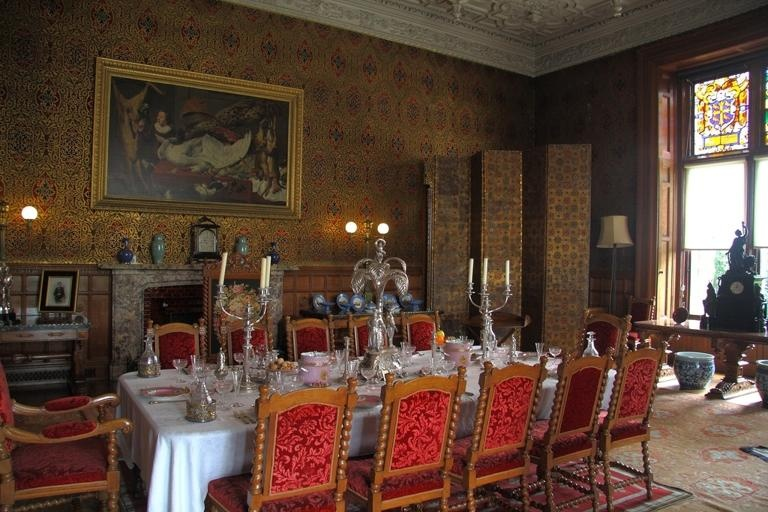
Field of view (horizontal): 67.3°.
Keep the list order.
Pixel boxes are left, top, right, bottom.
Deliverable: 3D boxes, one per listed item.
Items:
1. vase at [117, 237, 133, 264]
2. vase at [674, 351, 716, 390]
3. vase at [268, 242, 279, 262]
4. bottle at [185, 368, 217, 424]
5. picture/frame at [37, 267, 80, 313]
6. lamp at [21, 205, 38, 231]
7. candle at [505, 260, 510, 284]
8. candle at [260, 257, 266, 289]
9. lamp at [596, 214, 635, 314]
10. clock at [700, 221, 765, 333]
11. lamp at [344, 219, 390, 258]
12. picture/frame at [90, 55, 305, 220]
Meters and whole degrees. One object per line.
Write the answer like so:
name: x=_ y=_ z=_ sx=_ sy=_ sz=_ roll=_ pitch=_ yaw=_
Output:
vase: x=-3.456 y=-0.081 z=7.651 sx=0.212 sy=0.360 sz=0.173 roll=0 pitch=-2 yaw=-24
vase: x=4.240 y=1.574 z=7.892 sx=0.524 sy=0.444 sz=0.486 roll=3 pitch=-5 yaw=-19
vase: x=-1.603 y=-0.057 z=8.377 sx=0.165 sy=0.327 sz=0.266 roll=-1 pitch=-2 yaw=-13
bottle: x=-1.314 y=1.015 z=4.152 sx=0.301 sy=0.400 sz=0.283 roll=0 pitch=-7 yaw=0
picture/frame: x=-4.136 y=0.431 z=7.251 sx=0.575 sy=0.718 sz=0.048 roll=2 pitch=-7 yaw=-22
lamp: x=-4.462 y=-0.494 z=7.226 sx=0.187 sy=0.301 sz=0.260 roll=0 pitch=-3 yaw=-31
candle: x=1.173 y=0.160 z=5.489 sx=0.023 sy=0.216 sz=0.131 roll=-2 pitch=-2 yaw=24
candle: x=-0.959 y=0.133 z=4.545 sx=0.035 sy=0.236 sz=0.096 roll=0 pitch=-2 yaw=-31
lamp: x=3.620 y=0.101 z=8.964 sx=0.525 sy=1.485 sz=0.735 roll=-2 pitch=-2 yaw=23
clock: x=4.442 y=0.305 z=7.336 sx=0.693 sy=1.283 sz=0.486 roll=-2 pitch=-2 yaw=33
lamp: x=-0.308 y=-0.268 z=8.702 sx=0.689 sy=0.683 sz=0.200 roll=-1 pitch=7 yaw=-18
picture/frame: x=-2.726 y=-1.641 z=7.986 sx=2.498 sy=1.689 sz=0.108 roll=2 pitch=3 yaw=-27
